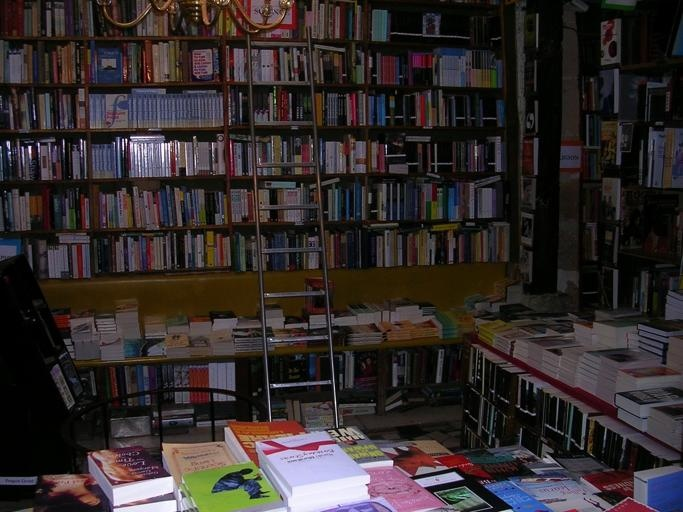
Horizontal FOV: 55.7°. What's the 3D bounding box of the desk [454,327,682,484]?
[{"bbox_3d":[1.337,0.847,3.693,0.348,0.800,0.939,-11,18,-31],"label":"desk"}]
